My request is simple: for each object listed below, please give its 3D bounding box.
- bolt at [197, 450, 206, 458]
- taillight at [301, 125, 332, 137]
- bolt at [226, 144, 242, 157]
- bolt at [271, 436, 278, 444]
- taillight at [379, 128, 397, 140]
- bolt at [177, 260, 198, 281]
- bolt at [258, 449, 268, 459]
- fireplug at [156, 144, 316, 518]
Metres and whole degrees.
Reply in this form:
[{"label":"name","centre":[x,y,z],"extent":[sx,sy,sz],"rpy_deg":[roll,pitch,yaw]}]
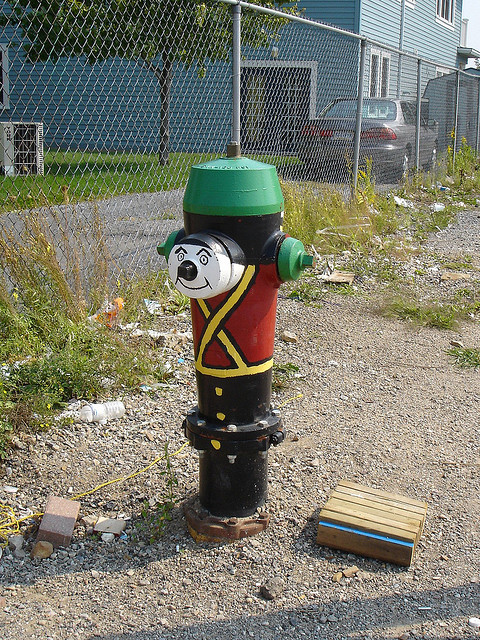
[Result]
[{"label":"bolt","centre":[-0.149,0.510,2.565],"extent":[0.033,0.033,0.031],"rpy_deg":[2,-2,20]},{"label":"taillight","centre":[0.947,-2.287,8.171],"extent":[0.342,0.143,0.572],"rpy_deg":[2,11,9]},{"label":"bolt","centre":[-0.025,-0.659,2.612],"extent":[0.055,0.055,0.052],"rpy_deg":[-4,20,-9]},{"label":"bolt","centre":[0.131,0.462,2.575],"extent":[0.025,0.025,0.006],"rpy_deg":[-44,6,0]},{"label":"taillight","centre":[2.504,-3.132,11.347],"extent":[0.468,0.205,0.138],"rpy_deg":[-9,14,-40]},{"label":"bolt","centre":[-0.174,-0.161,2.185],"extent":[0.066,0.065,0.022],"rpy_deg":[4,12,19]},{"label":"bolt","centre":[0.088,0.516,2.587],"extent":[0.039,0.039,0.036],"rpy_deg":[-1,-1,2]},{"label":"fireplug","centre":[0.013,0.121,2.448],"extent":[0.512,1.386,0.413],"rpy_deg":[0,11,-3]}]
